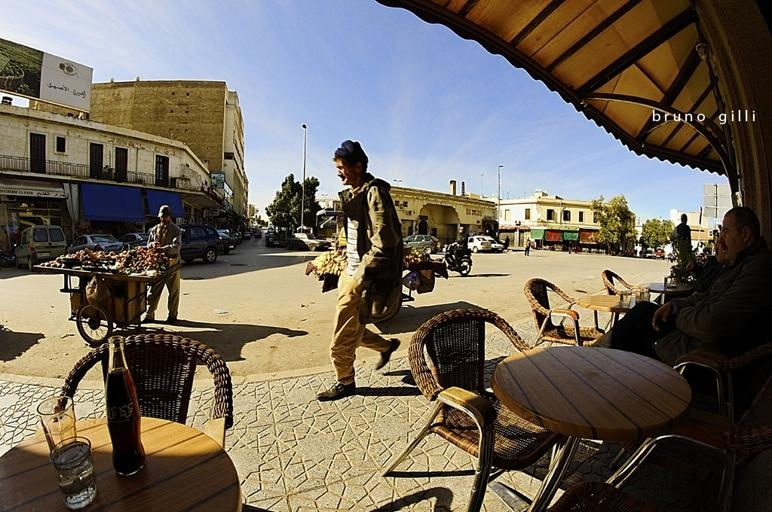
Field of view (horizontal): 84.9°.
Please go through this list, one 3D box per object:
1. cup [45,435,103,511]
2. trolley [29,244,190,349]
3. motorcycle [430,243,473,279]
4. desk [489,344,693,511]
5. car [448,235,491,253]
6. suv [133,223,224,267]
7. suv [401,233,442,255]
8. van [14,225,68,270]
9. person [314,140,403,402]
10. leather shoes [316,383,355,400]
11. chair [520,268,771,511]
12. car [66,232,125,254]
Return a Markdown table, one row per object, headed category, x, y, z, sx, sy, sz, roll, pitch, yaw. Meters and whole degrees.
| category | x | y | z | sx | sy | sz | roll | pitch | yaw |
| --- | --- | --- | --- | --- | --- | --- | --- | --- | --- |
| cup | -1.758 | 1.215 | 2.373 | 0.206 | 0.329 | 0.241 | -2 | 4 | -40 |
| trolley | -3.997 | 0.663 | 6.235 | 1.445 | 0.957 | 1.220 | 6 | 3 | 4 |
| motorcycle | 2.691 | 0.106 | 15.891 | 0.972 | 1.199 | 0.950 | 1 | 3 | 6 |
| desk | 1.474 | 0.967 | 3.092 | 1.410 | 0.344 | 0.880 | 0 | 4 | -13 |
| car | 5.520 | -0.734 | 26.654 | 1.054 | 0.829 | 2.367 | -1 | 11 | -3 |
| suv | -6.024 | -0.306 | 12.651 | 1.619 | 1.436 | 3.107 | 0 | -2 | 39 |
| suv | 2.197 | -0.752 | 26.623 | 2.431 | 0.859 | 1.063 | 7 | -2 | -35 |
| van | -11.545 | -0.303 | 14.024 | 2.103 | 1.225 | 1.217 | 14 | 14 | 41 |
| person | -0.267 | 0.158 | 4.515 | 0.886 | 2.751 | 0.792 | 0 | 3 | -15 |
| leather shoes | -0.554 | 1.440 | 4.583 | 0.403 | 0.156 | 0.148 | 3 | -3 | -25 |
| chair | 2.716 | 1.229 | 5.785 | 1.684 | 2.778 | 1.865 | 1 | -5 | -33 |
| car | -10.317 | -0.485 | 14.836 | 1.807 | 0.630 | 0.838 | 7 | 7 | 31 |
